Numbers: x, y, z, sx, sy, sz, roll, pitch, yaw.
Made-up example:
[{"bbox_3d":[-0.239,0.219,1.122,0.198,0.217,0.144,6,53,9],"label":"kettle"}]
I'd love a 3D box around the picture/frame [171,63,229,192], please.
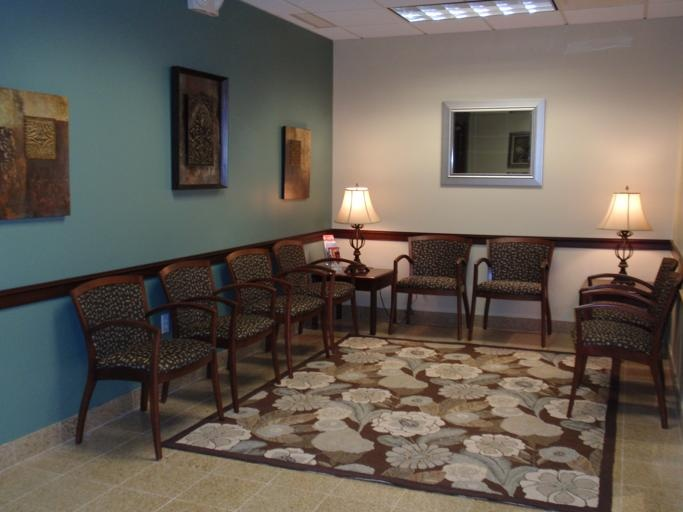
[{"bbox_3d":[-1.260,-1.115,4.631,0.146,1.012,0.698,4,10,23],"label":"picture/frame"}]

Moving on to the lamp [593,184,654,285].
[{"bbox_3d":[3.104,-0.252,5.674,0.469,1.009,0.694,5,10,30],"label":"lamp"}]

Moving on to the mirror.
[{"bbox_3d":[1.847,-1.393,6.367,1.229,1.002,0.119,6,21,28],"label":"mirror"}]

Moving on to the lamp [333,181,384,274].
[{"bbox_3d":[0.181,-0.302,6.521,0.577,0.956,0.550,-4,5,-27],"label":"lamp"}]
